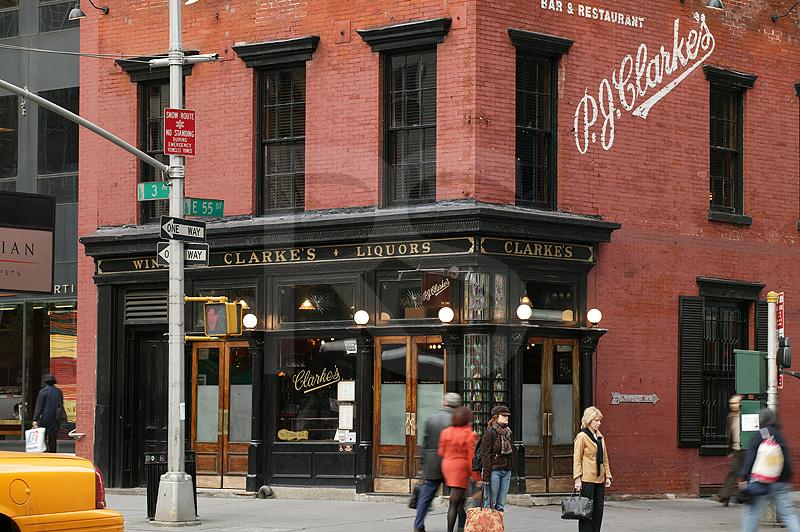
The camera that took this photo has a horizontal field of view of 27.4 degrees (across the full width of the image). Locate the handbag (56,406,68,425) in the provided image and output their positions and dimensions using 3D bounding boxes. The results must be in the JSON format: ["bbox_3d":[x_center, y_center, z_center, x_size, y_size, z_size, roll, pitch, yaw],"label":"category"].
[{"bbox_3d":[-8.390,3.648,40.712,0.274,0.498,0.568,0,-5,1],"label":"handbag"}]

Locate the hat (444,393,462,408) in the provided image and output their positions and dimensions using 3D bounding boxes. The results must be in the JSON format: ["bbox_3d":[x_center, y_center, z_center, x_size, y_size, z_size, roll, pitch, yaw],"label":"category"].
[{"bbox_3d":[1.066,2.658,33.302,0.319,0.269,0.245,16,13,38],"label":"hat"}]

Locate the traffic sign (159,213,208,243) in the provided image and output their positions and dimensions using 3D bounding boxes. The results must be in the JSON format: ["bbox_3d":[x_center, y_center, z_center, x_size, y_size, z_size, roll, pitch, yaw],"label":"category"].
[{"bbox_3d":[-4.610,-0.794,34.818,1.079,0.519,0.201,1,-10,-40],"label":"traffic sign"}]

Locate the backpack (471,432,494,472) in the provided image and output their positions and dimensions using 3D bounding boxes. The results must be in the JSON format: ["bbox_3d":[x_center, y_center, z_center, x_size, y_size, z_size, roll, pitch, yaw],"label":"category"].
[{"bbox_3d":[1.611,3.729,33.798,0.283,0.708,0.559,4,-17,33],"label":"backpack"}]

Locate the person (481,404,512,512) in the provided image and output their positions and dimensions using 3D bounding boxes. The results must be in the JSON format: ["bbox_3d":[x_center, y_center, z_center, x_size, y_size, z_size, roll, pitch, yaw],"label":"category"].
[{"bbox_3d":[1.965,3.863,33.718,0.667,2.108,0.566,-6,-7,1],"label":"person"}]

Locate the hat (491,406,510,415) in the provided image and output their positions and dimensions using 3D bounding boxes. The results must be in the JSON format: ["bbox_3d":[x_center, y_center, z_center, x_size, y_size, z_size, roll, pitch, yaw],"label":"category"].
[{"bbox_3d":[2.004,2.904,33.724,0.216,0.110,0.311,6,-11,-36],"label":"hat"}]

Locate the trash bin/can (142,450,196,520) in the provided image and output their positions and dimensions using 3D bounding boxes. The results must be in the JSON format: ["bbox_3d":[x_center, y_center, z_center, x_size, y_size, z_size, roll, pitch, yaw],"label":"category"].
[{"bbox_3d":[-5.022,4.579,35.415,1.467,1.353,1.350,1,-5,-6],"label":"trash bin/can"}]

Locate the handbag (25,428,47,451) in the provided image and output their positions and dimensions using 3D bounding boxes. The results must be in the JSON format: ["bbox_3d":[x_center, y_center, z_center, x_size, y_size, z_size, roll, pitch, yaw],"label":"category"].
[{"bbox_3d":[-8.628,4.037,38.971,0.631,0.558,0.220,-10,-22,26],"label":"handbag"}]

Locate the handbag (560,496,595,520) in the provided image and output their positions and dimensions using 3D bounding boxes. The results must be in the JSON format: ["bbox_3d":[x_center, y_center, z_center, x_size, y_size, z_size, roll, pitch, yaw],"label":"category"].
[{"bbox_3d":[3.496,4.658,32.238,0.588,0.447,0.212,-3,-23,12],"label":"handbag"}]

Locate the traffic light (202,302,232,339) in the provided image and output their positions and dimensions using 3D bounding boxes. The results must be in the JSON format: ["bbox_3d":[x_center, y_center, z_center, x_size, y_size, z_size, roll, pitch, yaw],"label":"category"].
[{"bbox_3d":[-3.895,1.094,34.941,0.860,0.855,0.340,-4,-6,32],"label":"traffic light"}]
